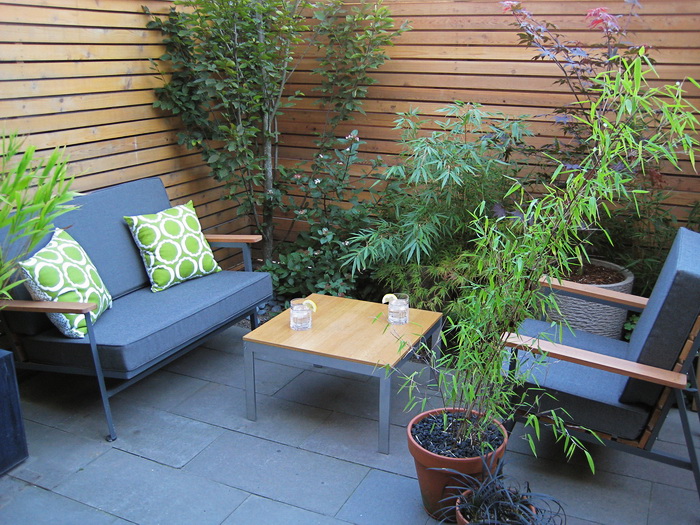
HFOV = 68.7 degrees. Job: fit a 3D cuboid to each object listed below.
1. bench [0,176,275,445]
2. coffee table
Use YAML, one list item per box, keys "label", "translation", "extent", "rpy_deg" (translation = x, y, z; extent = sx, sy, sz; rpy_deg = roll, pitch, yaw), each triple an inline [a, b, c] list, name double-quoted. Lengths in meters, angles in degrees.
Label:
- label: "bench"
  translation: [-1.301, 0.328, 3.049]
  extent: [1.121, 0.937, 1.669]
  rpy_deg: [12, 21, 21]
- label: "coffee table"
  translation: [0.009, 0.492, 2.926]
  extent: [1.102, 0.454, 1.011]
  rpy_deg: [6, 13, 23]
